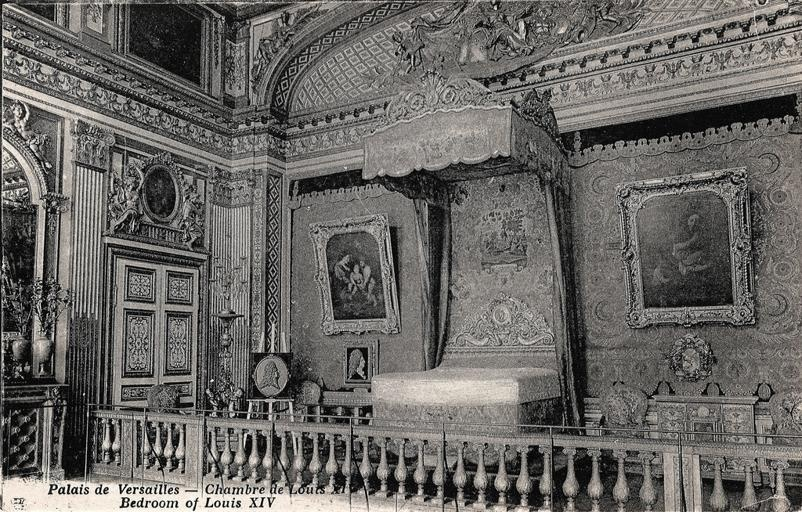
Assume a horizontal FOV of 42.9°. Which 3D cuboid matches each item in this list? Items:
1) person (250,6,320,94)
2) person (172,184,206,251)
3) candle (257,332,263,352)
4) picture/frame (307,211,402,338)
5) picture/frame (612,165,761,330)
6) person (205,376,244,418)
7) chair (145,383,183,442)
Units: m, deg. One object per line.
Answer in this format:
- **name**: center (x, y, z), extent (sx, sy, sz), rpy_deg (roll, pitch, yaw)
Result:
- **person**: center (-2.007, -3.597, 17.705), extent (0.791, 1.832, 0.582), rpy_deg (22, -6, 20)
- **person**: center (-3.489, -0.646, 17.052), extent (0.135, 1.072, 0.564), rpy_deg (-8, -14, 32)
- **candle**: center (-2.306, 1.423, 16.985), extent (0.119, 0.335, 0.604), rpy_deg (1, -13, -8)
- **picture/frame**: center (-0.690, 0.317, 17.046), extent (1.718, 2.208, 0.241), rpy_deg (-10, -7, 23)
- **picture/frame**: center (4.298, -0.086, 14.957), extent (2.102, 2.735, 0.326), rpy_deg (-5, -6, 23)
- **person**: center (-2.836, 2.269, 16.345), extent (0.609, 0.746, 0.236), rpy_deg (-2, -2, 9)
- **chair**: center (-3.654, 2.239, 15.672), extent (0.583, 0.617, 0.504), rpy_deg (-1, -4, -1)
